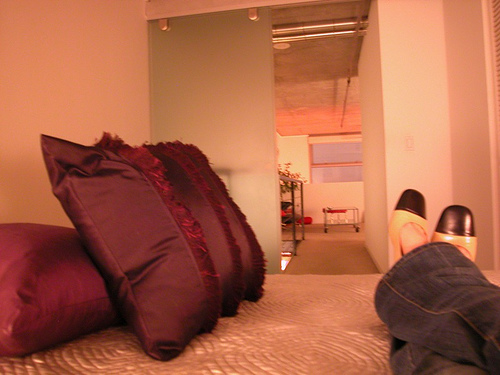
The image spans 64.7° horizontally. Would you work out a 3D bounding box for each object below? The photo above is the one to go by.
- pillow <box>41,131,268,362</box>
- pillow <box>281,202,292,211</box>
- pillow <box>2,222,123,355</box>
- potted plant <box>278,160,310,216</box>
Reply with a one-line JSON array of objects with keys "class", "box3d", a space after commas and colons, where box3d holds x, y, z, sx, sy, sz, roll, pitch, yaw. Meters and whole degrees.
[{"class": "pillow", "box3d": [-0.180, 0.075, 1.312, 0.727, 0.690, 0.209, -21, -18, -51]}, {"class": "pillow", "box3d": [0.564, 0.291, 6.148, 0.224, 0.068, 0.247, -1, -13, 0]}, {"class": "pillow", "box3d": [-0.513, 0.257, 1.036, 0.204, 0.263, 0.288, 5, 6, 43]}, {"class": "potted plant", "box3d": [0.531, 0.033, 5.559, 0.326, 0.500, 0.337, -3, -5, -40]}]
